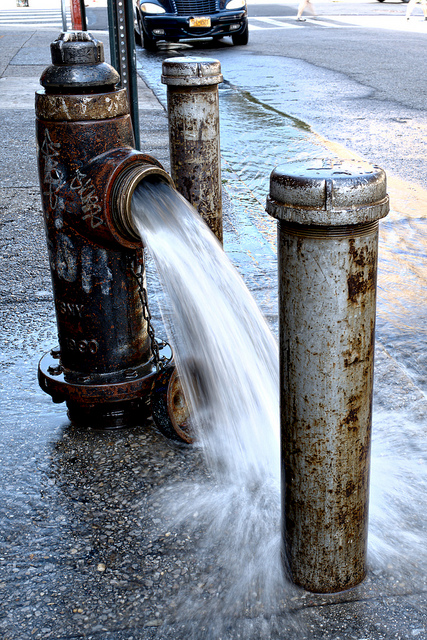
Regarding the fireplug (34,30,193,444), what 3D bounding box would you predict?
[{"bbox_3d":[-0.390,-0.258,2.556,0.617,1.426,0.419,2,24,11],"label":"fireplug"}]
